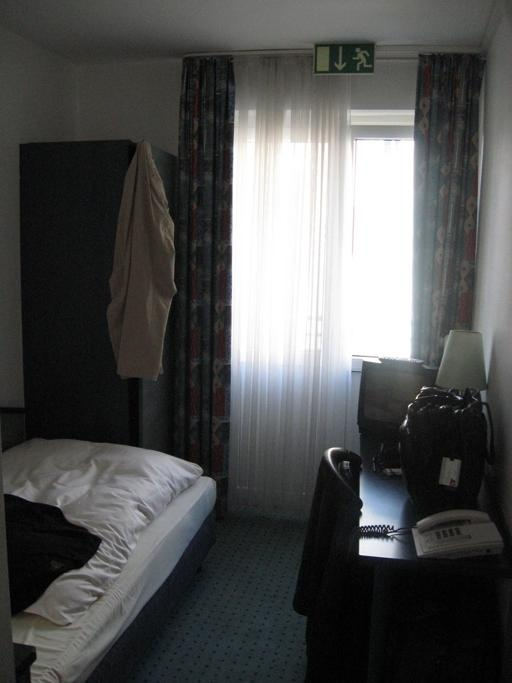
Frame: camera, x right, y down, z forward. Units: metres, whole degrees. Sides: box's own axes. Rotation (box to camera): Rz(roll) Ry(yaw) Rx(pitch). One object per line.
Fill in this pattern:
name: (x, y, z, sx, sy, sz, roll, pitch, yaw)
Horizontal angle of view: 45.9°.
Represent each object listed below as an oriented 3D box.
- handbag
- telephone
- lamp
handbag: (0.637, 0.311, 2.059, 0.274, 0.500, 0.340, 2, 4, 17)
telephone: (0.538, 0.525, 1.623, 0.139, 0.058, 0.123, -2, 6, 5)
lamp: (0.801, 0.077, 2.341, 0.192, 0.260, 0.208, 3, 1, 29)
